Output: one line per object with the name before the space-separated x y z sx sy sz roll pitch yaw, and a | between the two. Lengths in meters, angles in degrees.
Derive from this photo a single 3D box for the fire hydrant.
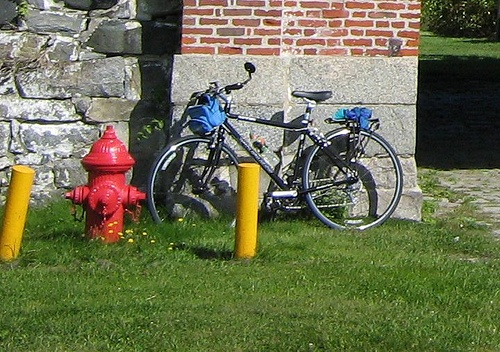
fire hydrant | -1.628 0.095 12.099 0.821 1.289 0.310 1 8 -10
